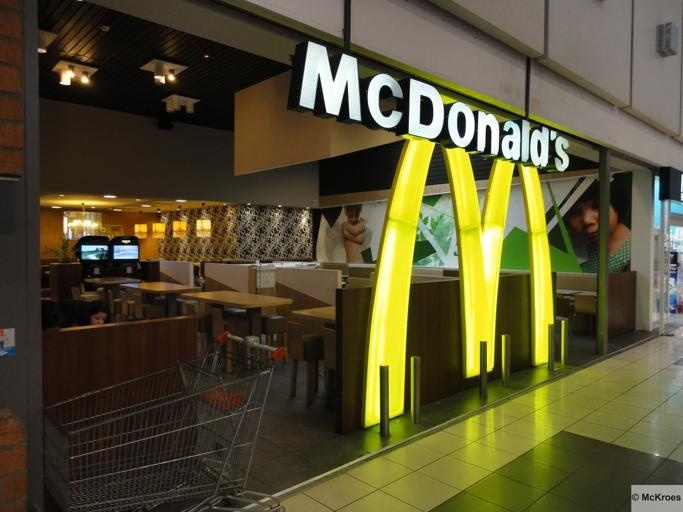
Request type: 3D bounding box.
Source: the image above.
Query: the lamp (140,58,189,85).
[{"bbox_3d":[-2.810,-2.883,8.174,0.444,0.239,0.484,-4,-4,32],"label":"lamp"}]

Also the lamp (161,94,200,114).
[{"bbox_3d":[-3.096,-2.928,10.149,0.607,0.261,0.796,-3,7,-29],"label":"lamp"}]
